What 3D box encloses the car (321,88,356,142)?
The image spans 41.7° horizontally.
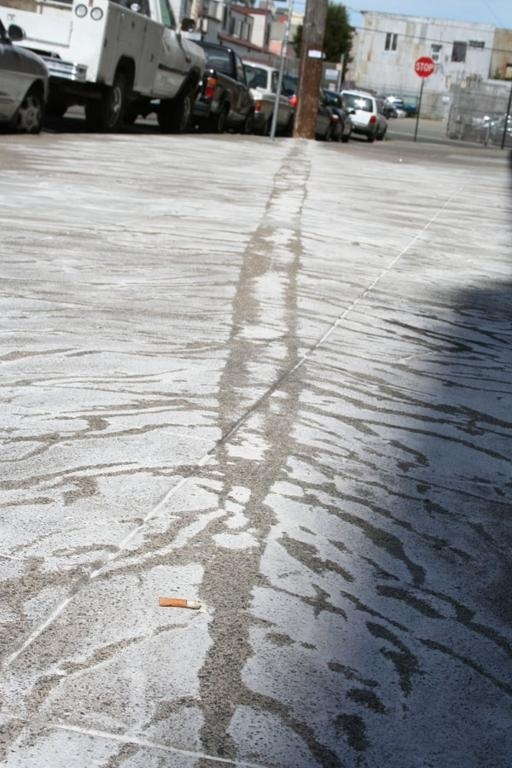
[{"bbox_3d":[2.846,-9.280,23.278,1.380,0.907,2.601,4,28,11],"label":"car"}]

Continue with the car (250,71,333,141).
[{"bbox_3d":[0.719,-8.336,19.703,1.618,1.491,3.700,8,22,20],"label":"car"}]
